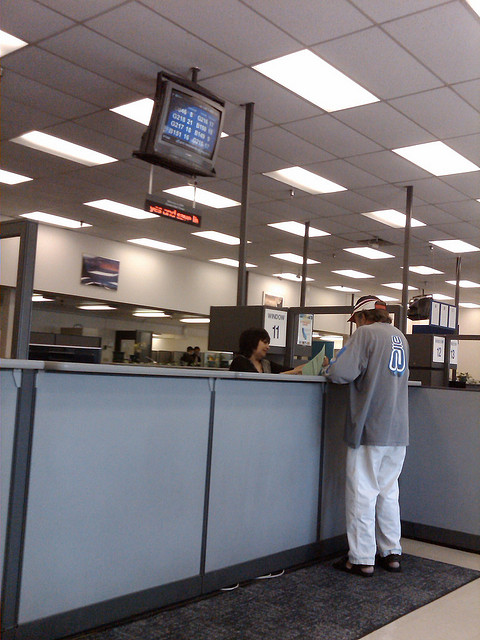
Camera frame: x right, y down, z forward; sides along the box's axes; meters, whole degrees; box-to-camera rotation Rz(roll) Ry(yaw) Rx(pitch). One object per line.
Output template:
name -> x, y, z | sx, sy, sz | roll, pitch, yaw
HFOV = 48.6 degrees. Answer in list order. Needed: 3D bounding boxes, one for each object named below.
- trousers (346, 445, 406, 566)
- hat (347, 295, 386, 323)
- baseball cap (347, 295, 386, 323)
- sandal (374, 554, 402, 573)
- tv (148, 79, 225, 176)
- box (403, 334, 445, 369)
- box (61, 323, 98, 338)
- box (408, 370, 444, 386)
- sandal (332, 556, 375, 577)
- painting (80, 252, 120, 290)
trousers -> 0.755, 1.016, 2.994 | 0.376, 0.556, 0.209 | 12, -3, -39
hat -> 0.800, -0.073, 3.350 | 0.220, 0.124, 0.157 | -4, -10, 13
baseball cap -> 0.801, -0.069, 3.349 | 0.218, 0.122, 0.156 | -2, -10, 16
sandal -> 0.849, 1.394, 3.054 | 0.072, 0.085, 0.208 | 2, -16, -5
tv -> -0.451, -1.526, 4.205 | 0.318, 0.597, 0.656 | 14, 5, 41
box -> 2.450, 0.415, 7.032 | 0.434, 0.569, 0.617 | 0, -3, 23
box -> -3.909, 0.217, 12.939 | 0.826, 0.329, 1.506 | 10, -2, -9
box -> 2.728, 0.817, 7.736 | 0.491, 0.187, 0.487 | 9, -2, 14
sandal -> 0.621, 1.351, 2.951 | 0.221, 0.078, 0.084 | 20, 2, 35
painting -> -2.892, -0.984, 10.819 | 0.027, 0.590, 0.780 | -15, -19, 43
